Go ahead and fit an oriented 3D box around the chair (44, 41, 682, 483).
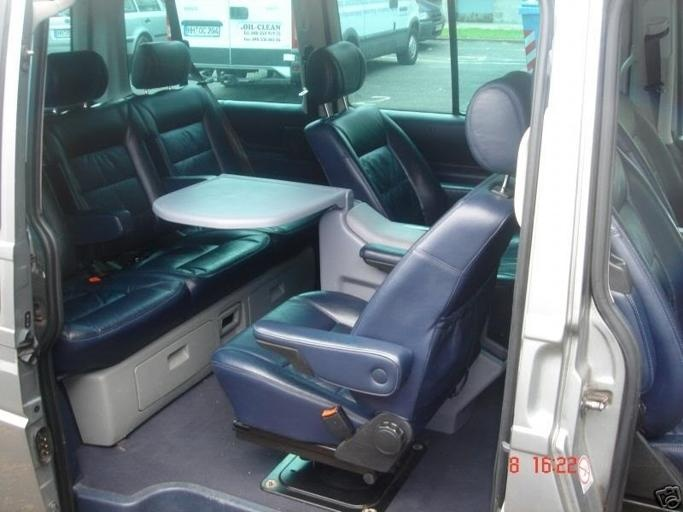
[{"bbox_3d":[-0.025,0.030,2.051,1.124,1.242,1.710,3,13,36],"label":"chair"}]
